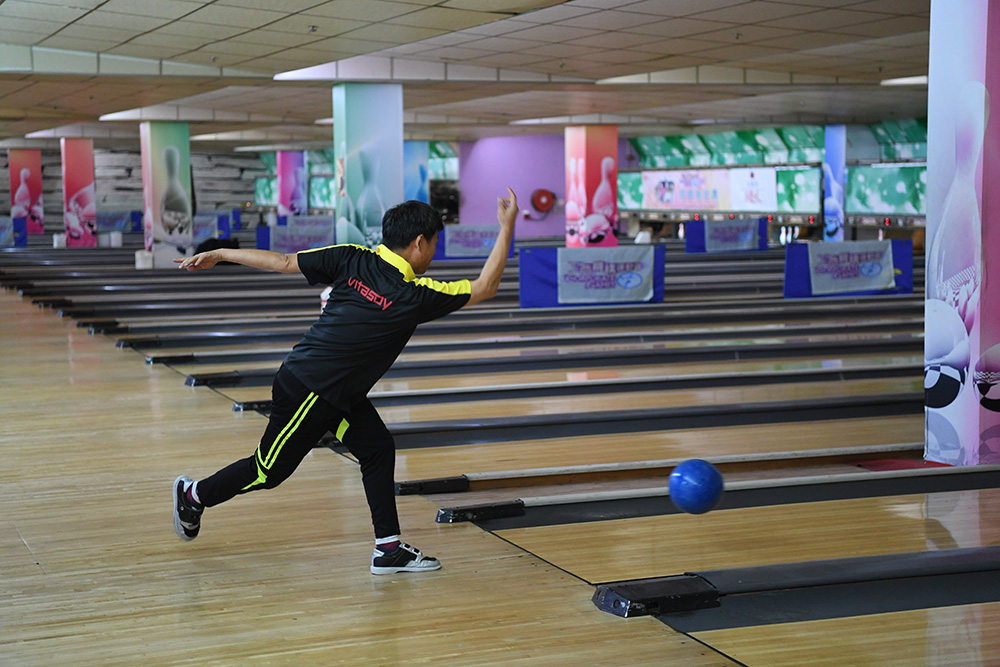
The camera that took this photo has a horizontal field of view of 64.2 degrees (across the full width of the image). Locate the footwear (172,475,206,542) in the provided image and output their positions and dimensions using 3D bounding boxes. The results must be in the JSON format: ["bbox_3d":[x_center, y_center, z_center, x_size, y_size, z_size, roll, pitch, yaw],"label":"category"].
[{"bbox_3d":[-1.140,0.636,2.969,0.128,0.267,0.103,-5,-8,37],"label":"footwear"}]

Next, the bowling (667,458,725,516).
[{"bbox_3d":[0.767,0.611,3.133,0.178,0.213,0.166,-5,6,-33],"label":"bowling"}]

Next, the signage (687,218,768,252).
[{"bbox_3d":[4.879,-2.073,17.022,2.064,0.715,0.416,-4,6,-30],"label":"signage"}]

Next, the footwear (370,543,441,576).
[{"bbox_3d":[-0.355,0.794,2.862,0.275,0.098,0.102,-1,1,-15],"label":"footwear"}]
